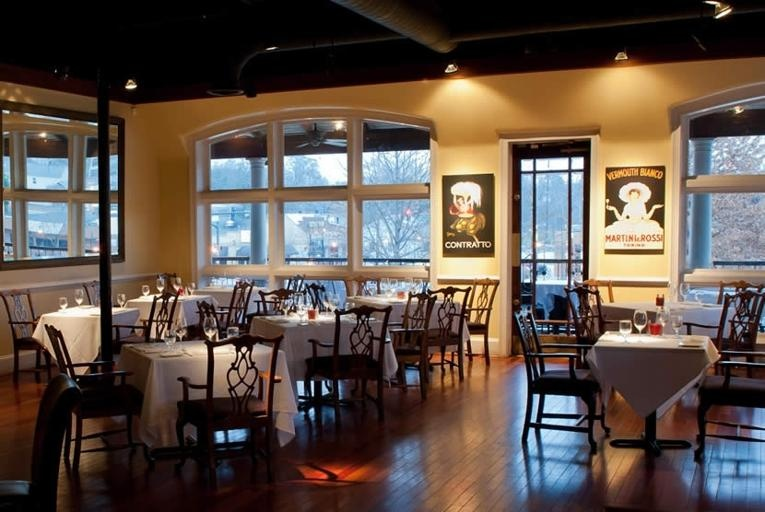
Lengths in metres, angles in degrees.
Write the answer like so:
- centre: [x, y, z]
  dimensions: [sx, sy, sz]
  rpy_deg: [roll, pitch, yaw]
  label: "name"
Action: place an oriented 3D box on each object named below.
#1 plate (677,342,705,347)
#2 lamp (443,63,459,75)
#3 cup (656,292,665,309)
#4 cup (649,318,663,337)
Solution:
- centre: [2.983, 0.859, 5.730]
  dimensions: [0.206, 0.014, 0.168]
  rpy_deg: [2, 9, 15]
  label: "plate"
- centre: [1.095, -2.993, 9.251]
  dimensions: [0.250, 0.079, 0.246]
  rpy_deg: [-5, -5, -9]
  label: "lamp"
- centre: [3.895, 0.627, 8.285]
  dimensions: [0.133, 0.227, 0.118]
  rpy_deg: [5, 8, 24]
  label: "cup"
- centre: [2.918, 0.757, 6.302]
  dimensions: [0.178, 0.168, 0.176]
  rpy_deg: [0, -4, 0]
  label: "cup"
